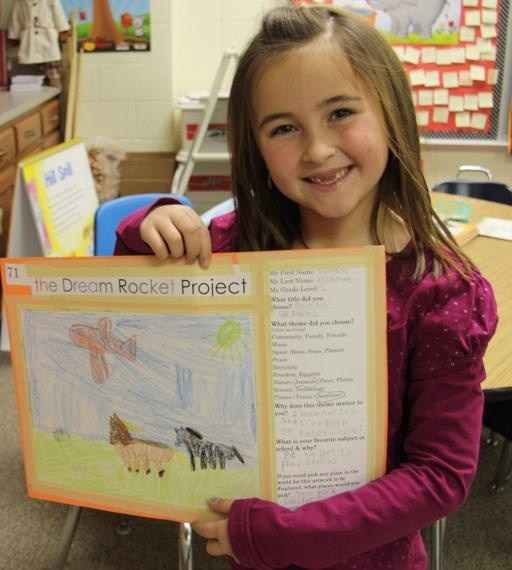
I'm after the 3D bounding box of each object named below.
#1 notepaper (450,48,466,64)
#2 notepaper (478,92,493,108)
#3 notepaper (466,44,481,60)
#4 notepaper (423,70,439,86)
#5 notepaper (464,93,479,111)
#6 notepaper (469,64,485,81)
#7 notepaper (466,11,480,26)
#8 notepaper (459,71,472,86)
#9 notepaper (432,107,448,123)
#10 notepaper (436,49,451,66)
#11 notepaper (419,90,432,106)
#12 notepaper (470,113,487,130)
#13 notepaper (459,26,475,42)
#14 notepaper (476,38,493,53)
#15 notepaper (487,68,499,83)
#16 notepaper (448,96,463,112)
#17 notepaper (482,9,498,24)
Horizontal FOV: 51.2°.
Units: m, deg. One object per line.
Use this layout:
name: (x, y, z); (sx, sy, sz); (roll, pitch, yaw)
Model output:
notepaper: (1.260, -1.440, 3.335); (0.096, 0.080, 0.013); (0, 26, 6)
notepaper: (1.481, -1.198, 3.441); (0.093, 0.083, 0.023); (-1, 15, 5)
notepaper: (1.355, -1.461, 3.335); (0.097, 0.086, 0.010); (0, 15, 0)
notepaper: (1.119, -1.308, 3.383); (0.091, 0.080, 0.021); (2, 4, -2)
notepaper: (1.388, -1.191, 3.447); (0.116, 0.105, 0.012); (0, 30, 6)
notepaper: (1.396, -1.351, 3.374); (0.100, 0.089, 0.010); (-1, 14, -2)
notepaper: (1.316, -1.632, 3.253); (0.095, 0.079, 0.009); (0, 22, 5)
notepaper: (1.329, -1.312, 3.387); (0.088, 0.074, 0.021); (0, 10, 2)
notepaper: (1.195, -1.113, 3.472); (0.097, 0.088, 0.010); (0, 23, 6)
notepaper: (1.167, -1.430, 3.338); (0.095, 0.085, 0.009); (-2, 22, 7)
notepaper: (1.085, -1.208, 3.427); (0.100, 0.090, 0.010); (0, 29, 9)
notepaper: (1.463, -1.072, 3.504); (0.106, 0.087, 0.024); (4, 5, -7)
notepaper: (1.307, -1.549, 3.293); (0.088, 0.073, 0.022); (6, 18, -6)
notepaper: (1.420, -1.501, 3.330); (0.097, 0.086, 0.010); (2, 8, -2)
notepaper: (1.499, -1.335, 3.390); (0.096, 0.096, 0.010); (-4, 15, -15)
notepaper: (1.284, -1.175, 3.441); (0.093, 0.083, 0.010); (-3, 17, -2)
notepaper: (1.425, -1.647, 3.263); (0.087, 0.067, 0.009); (3, 9, -9)
